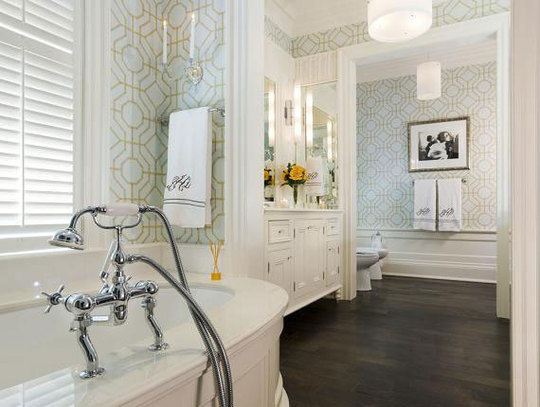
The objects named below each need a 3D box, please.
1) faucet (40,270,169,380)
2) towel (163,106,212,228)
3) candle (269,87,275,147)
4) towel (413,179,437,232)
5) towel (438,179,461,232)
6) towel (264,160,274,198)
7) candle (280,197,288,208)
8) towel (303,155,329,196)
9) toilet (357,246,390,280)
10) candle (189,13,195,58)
[{"bbox_3d":[-0.560,0.384,1.343,0.230,0.282,0.387,-1,-2,23],"label":"faucet"},{"bbox_3d":[-0.586,-0.259,2.717,0.346,0.828,0.183,0,2,12],"label":"towel"},{"bbox_3d":[0.012,-0.842,3.769,0.047,0.589,0.139,1,3,27],"label":"candle"},{"bbox_3d":[2.101,0.019,5.259,0.292,0.696,0.170,1,3,22],"label":"towel"},{"bbox_3d":[2.363,0.010,5.140,0.260,0.668,0.149,1,3,20],"label":"towel"},{"bbox_3d":[-0.011,-0.234,3.709,0.034,0.359,0.128,2,3,41],"label":"towel"},{"bbox_3d":[0.129,0.004,3.726,0.063,0.076,0.065,1,4,-2],"label":"candle"},{"bbox_3d":[0.428,-0.285,4.027,0.210,0.382,0.242,-1,1,35],"label":"towel"},{"bbox_3d":[1.422,0.777,5.132,0.407,0.375,0.438,1,0,-44],"label":"toilet"},{"bbox_3d":[-0.536,-1.126,2.637,0.023,0.254,0.114,-1,2,-12],"label":"candle"}]
